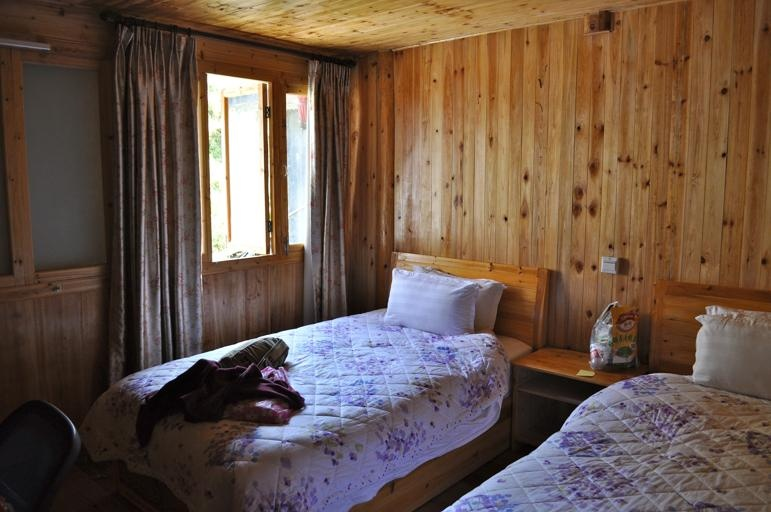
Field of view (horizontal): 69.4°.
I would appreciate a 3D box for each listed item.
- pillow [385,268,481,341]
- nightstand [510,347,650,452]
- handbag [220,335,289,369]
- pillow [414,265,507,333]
[{"bbox_3d":[0.373,0.410,4.692,0.855,0.488,0.254,9,-4,36],"label":"pillow"},{"bbox_3d":[1.507,1.182,4.287,0.847,0.781,0.639,8,13,32],"label":"nightstand"},{"bbox_3d":[-0.876,0.665,3.793,0.220,0.107,0.304,5,7,40],"label":"handbag"},{"bbox_3d":[0.822,0.383,4.681,0.520,0.545,0.159,8,-16,11],"label":"pillow"}]
